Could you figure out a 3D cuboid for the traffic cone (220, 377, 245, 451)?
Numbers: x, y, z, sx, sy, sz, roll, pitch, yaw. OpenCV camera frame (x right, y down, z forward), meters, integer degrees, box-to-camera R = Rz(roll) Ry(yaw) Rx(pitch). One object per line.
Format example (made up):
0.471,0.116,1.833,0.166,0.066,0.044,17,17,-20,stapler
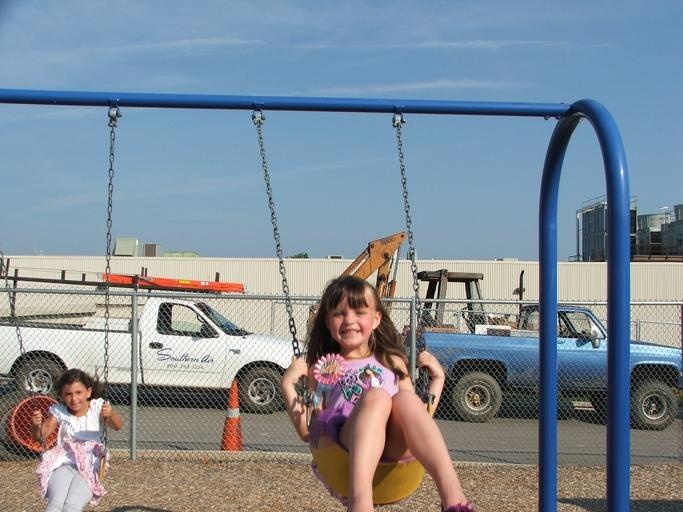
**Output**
-1.378,2.016,16.063,0.303,0.808,0.347,0,-1,20,traffic cone

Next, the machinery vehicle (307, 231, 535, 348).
0.692,0.198,19.761,3.528,2.279,1.037,2,-4,-28,machinery vehicle
